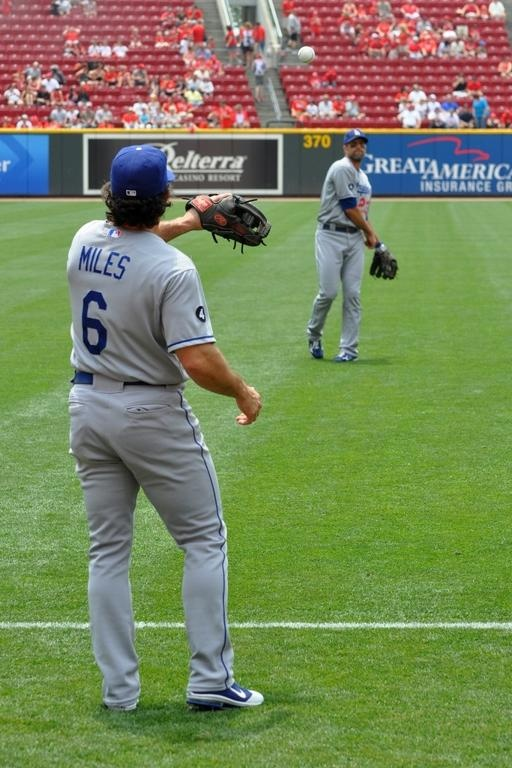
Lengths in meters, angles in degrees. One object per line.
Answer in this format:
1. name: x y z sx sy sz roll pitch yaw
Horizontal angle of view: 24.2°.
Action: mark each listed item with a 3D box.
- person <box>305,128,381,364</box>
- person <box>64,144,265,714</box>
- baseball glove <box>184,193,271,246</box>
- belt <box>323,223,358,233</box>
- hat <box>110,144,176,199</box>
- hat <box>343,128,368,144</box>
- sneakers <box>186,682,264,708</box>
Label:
1. person: 0.640 -0.982 8.747 0.524 1.696 0.612 1 15 4
2. person: -0.291 0.085 3.717 0.608 1.616 0.962 0 14 0
3. baseball glove: -0.139 -0.613 4.398 0.310 0.134 0.222 16 1 17
4. belt: 0.605 -1.121 8.646 0.132 0.033 0.122 6 1 -6
5. hat: -0.336 -0.612 3.472 0.175 0.148 0.226 0 13 2
6. hat: 0.705 -1.717 8.386 0.143 0.094 0.177 -3 5 -13
7. sneakers: -0.084 0.901 3.520 0.231 0.091 0.078 -1 -3 -12
